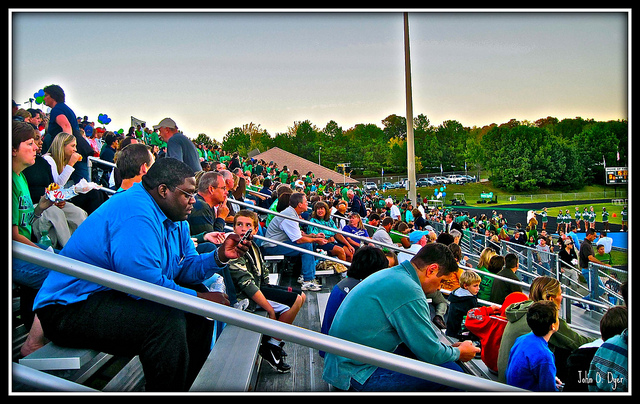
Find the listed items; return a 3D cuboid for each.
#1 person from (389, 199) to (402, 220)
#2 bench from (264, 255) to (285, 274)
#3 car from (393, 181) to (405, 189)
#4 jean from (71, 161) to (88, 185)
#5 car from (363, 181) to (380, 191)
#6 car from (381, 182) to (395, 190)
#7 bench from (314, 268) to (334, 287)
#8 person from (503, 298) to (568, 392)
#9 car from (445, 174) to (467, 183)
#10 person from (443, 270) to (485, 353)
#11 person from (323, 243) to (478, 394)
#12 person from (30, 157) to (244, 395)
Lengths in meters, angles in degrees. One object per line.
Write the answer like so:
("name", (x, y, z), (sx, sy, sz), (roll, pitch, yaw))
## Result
("person", (3.392, 0.339, 20.142), (0.571, 0.946, 0.993), (-4, 1, -6))
("bench", (-0.869, 1.140, 8.403), (0.334, 0.372, 0.579), (1, 3, -7))
("car", (16.756, -3.593, 94.972), (2.011, 0.819, 2.793), (-1, 1, 5))
("jean", (-3.627, -0.436, 6.802), (0.172, 0.348, 0.358), (2, 3, -8))
("car", (10.104, -3.180, 89.273), (2.511, 1.742, 5.275), (-1, -4, -2))
("car", (14.063, -3.448, 94.356), (1.269, 0.895, 2.041), (-1, -5, -21))
("bench", (0.079, 1.427, 8.686), (0.359, 0.321, 0.348), (0, -1, 2))
("person", (2.082, 1.368, 4.325), (0.470, 0.821, 0.459), (-1, 4, -38))
("car", (30.108, -5.220, 100.764), (3.618, 1.354, 2.082), (0, 3, 41))
("person", (2.357, 1.705, 6.817), (0.771, 1.319, 0.555), (-7, 6, 10))
("person", (0.829, 1.103, 4.462), (1.506, 1.327, 1.141), (7, -2, 1))
("person", (-1.366, 0.596, 3.556), (1.379, 1.910, 0.908), (-1, 5, -41))
